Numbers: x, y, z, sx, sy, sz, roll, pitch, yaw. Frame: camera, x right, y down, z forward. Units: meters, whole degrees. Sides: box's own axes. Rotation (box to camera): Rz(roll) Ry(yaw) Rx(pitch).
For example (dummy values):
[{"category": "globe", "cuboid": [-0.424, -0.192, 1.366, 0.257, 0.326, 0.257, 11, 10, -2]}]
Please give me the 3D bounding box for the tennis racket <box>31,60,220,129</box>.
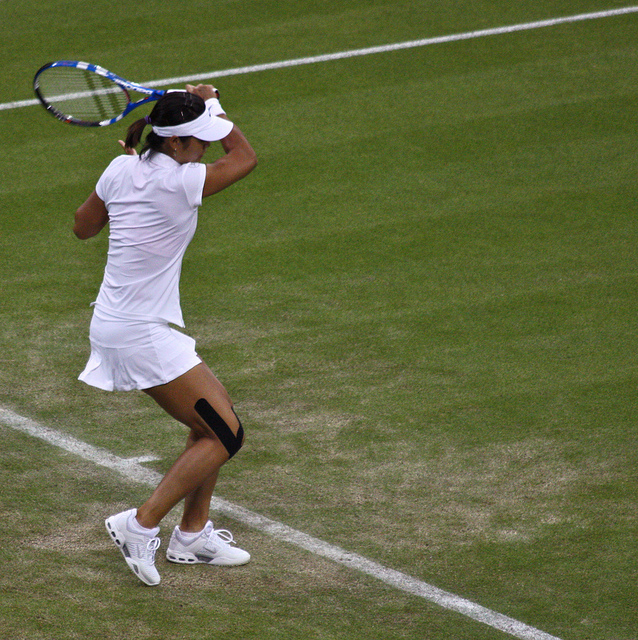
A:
[{"category": "tennis racket", "cuboid": [-0.924, -1.220, 7.723, 1.196, 0.354, 0.076, 5, 32, 16]}]
